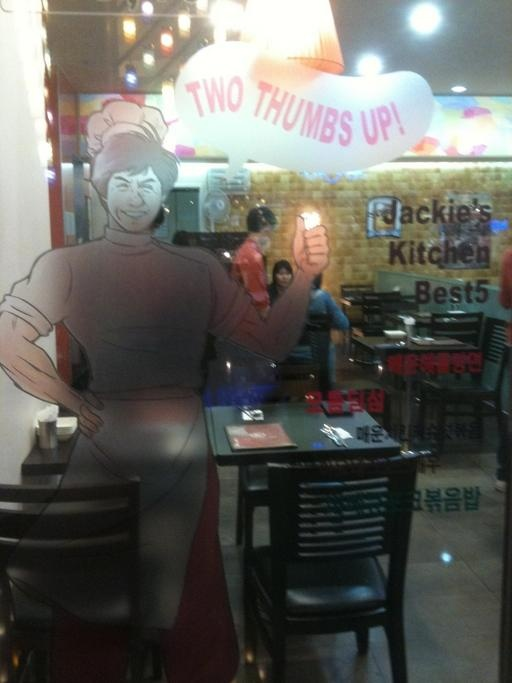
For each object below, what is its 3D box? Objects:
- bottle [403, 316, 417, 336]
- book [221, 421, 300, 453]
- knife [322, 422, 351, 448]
[{"bbox_3d":[0.393,-0.040,1.560,0.031,0.054,0.005,-3,11,-16],"label":"bottle"},{"bbox_3d":[0.011,0.238,1.525,0.108,0.030,0.082,2,26,-11],"label":"book"},{"bbox_3d":[0.208,0.236,1.553,0.069,0.047,0.020,35,-6,-14],"label":"knife"}]
